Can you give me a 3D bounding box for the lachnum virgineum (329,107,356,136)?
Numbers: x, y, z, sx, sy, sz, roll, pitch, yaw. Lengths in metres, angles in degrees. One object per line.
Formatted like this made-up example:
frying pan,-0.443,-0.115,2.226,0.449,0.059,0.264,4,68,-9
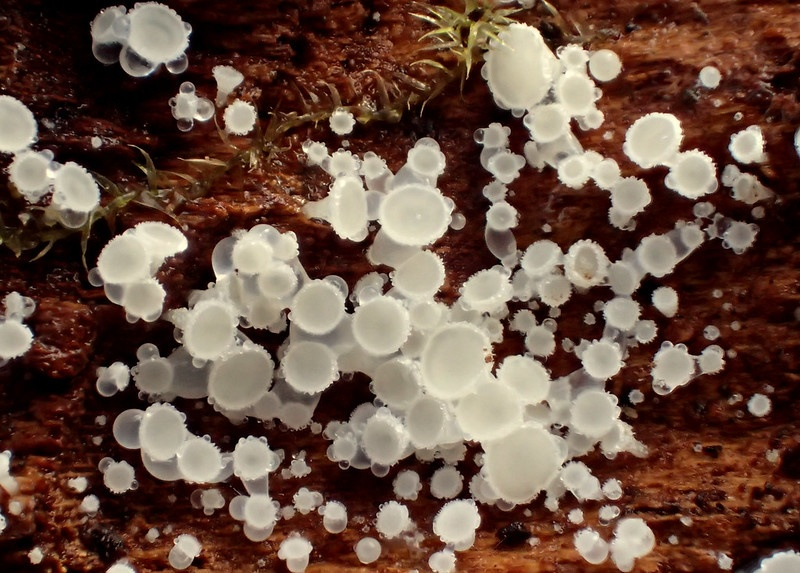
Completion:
lachnum virgineum,-0.507,-1.447,8.894,0.225,0.108,0.207,-5,85,-1
